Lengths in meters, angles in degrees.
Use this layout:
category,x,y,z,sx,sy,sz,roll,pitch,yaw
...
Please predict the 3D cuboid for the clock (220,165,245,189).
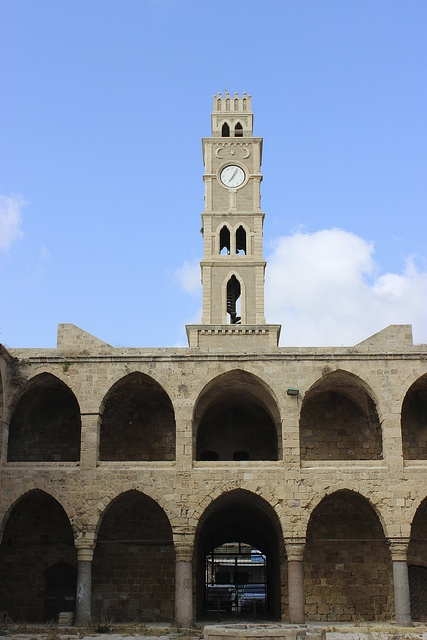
category,x,y,z,sx,sy,sz,roll,pitch,yaw
clock,0.634,-4.966,33.981,0.743,0.926,0.097,1,-32,2
